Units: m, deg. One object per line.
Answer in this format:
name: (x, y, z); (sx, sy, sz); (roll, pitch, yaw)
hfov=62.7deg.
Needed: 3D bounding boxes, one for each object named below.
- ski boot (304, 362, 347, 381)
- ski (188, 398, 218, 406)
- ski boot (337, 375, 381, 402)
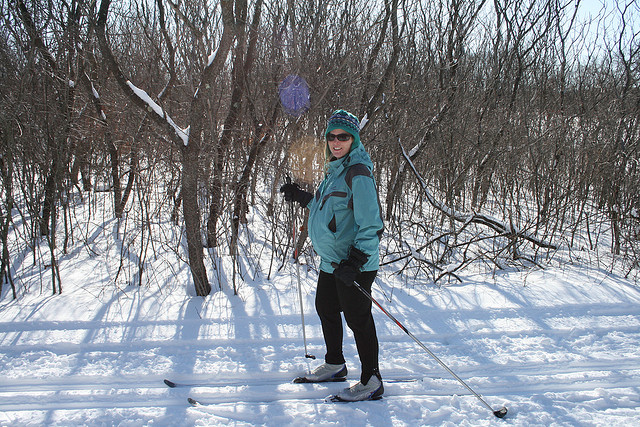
ski boot: (0.076, 2.065, 6.971); (0.583, 0.254, 0.221); (3, -5, -1)
ski: (-1.486, 2.365, 6.599); (0.251, 0.046, 0.046); (7, 9, 31)
ski boot: (0.477, 2.197, 6.744); (0.632, 0.306, 0.243); (-4, 6, -5)
